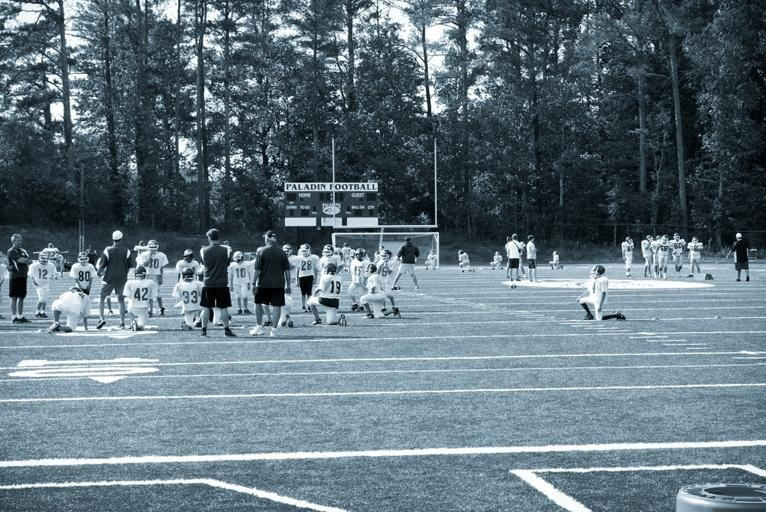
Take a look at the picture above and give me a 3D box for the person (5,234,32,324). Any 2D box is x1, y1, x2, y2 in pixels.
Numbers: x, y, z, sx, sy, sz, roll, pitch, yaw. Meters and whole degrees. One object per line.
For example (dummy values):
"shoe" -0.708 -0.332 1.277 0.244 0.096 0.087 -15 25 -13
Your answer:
"person" -12.779 0.833 43.123 1.046 2.943 1.102 -1 -1 21

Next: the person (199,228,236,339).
"person" -5.401 0.851 40.176 1.082 3.535 1.418 -2 11 -7

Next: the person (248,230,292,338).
"person" -3.716 0.880 40.134 1.472 3.362 0.972 1 -5 6
